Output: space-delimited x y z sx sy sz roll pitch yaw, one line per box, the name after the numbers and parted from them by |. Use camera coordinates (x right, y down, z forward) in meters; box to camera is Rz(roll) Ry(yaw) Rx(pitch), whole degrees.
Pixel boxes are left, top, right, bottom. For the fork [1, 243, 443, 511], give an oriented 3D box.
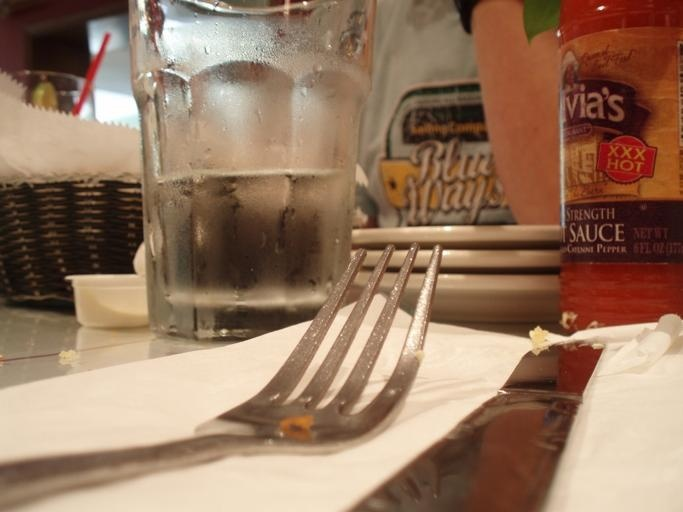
0.024 0.032 0.402 0.071 0.074 0.442 5 10 38 | fork
